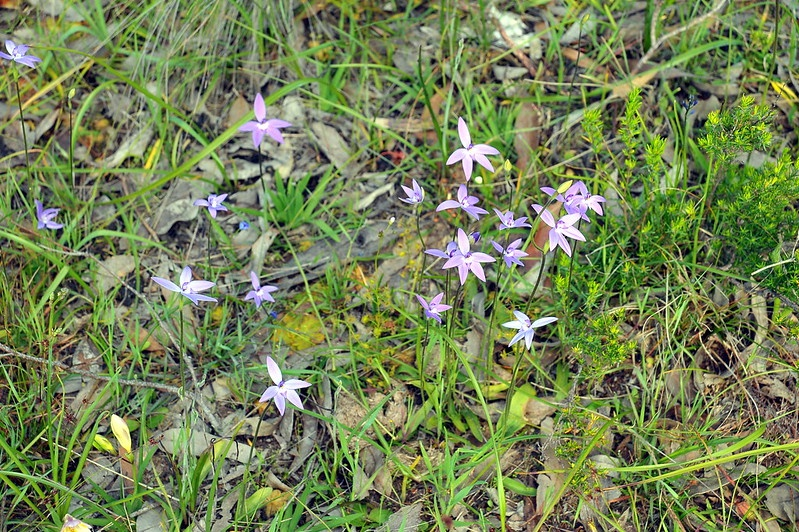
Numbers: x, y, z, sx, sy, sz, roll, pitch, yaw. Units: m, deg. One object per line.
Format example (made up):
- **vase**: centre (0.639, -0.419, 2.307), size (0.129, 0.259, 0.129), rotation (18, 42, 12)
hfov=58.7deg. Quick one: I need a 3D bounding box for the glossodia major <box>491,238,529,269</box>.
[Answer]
- **glossodia major**: centre (0.631, -0.073, 4.017), size (0.193, 0.093, 0.182), rotation (33, 90, 8)
